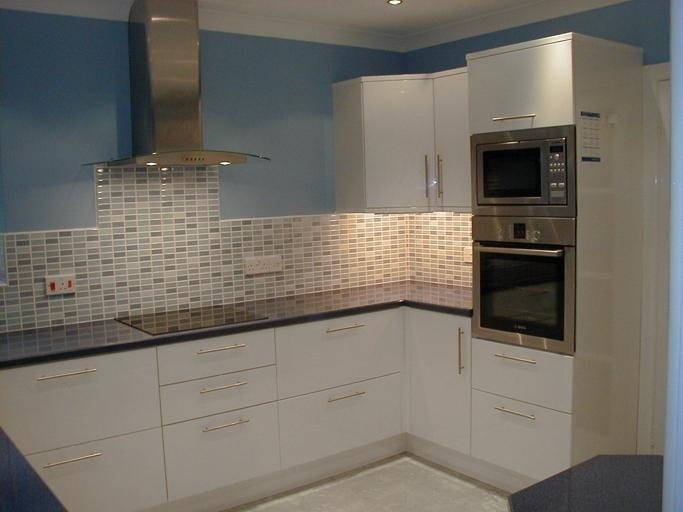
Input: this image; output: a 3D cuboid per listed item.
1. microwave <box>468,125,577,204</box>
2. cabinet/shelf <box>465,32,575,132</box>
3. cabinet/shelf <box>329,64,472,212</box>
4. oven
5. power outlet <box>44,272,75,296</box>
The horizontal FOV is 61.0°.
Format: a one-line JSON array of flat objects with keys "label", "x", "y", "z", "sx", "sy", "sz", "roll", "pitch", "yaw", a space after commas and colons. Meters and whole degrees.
[{"label": "microwave", "x": 0.960, "y": -0.474, "z": 3.117, "sx": 0.353, "sy": 0.456, "sz": 0.625, "roll": -4, "pitch": 8, "yaw": -35}, {"label": "cabinet/shelf", "x": 0.941, "y": -0.907, "z": 3.096, "sx": 0.398, "sy": 0.507, "sz": 0.690, "roll": -3, "pitch": 4, "yaw": -39}, {"label": "cabinet/shelf", "x": 0.401, "y": -0.726, "z": 3.896, "sx": 1.072, "sy": 1.071, "sz": 0.839, "roll": -1, "pitch": 0, "yaw": -28}, {"label": "oven", "x": 1.086, "y": 0.118, "z": 3.331, "sx": 0.587, "sy": 0.734, "sz": 0.489, "roll": 3, "pitch": 6, "yaw": 34}, {"label": "power outlet", "x": -1.576, "y": 0.154, "z": 3.230, "sx": 0.121, "sy": 0.092, "sz": 0.046, "roll": -5, "pitch": 10, "yaw": -35}]
